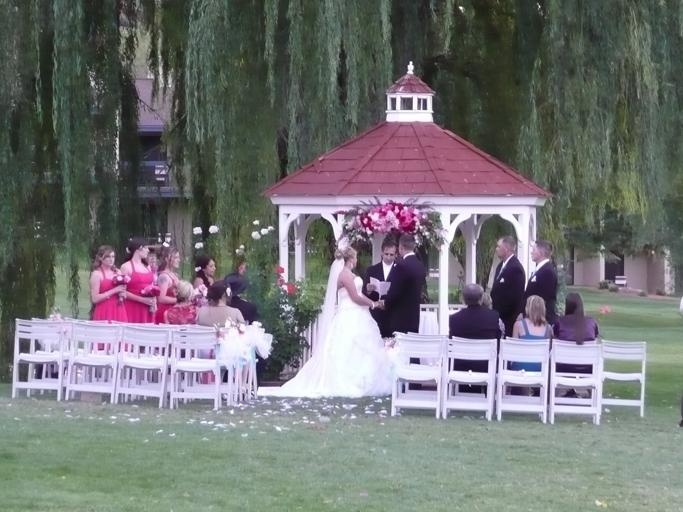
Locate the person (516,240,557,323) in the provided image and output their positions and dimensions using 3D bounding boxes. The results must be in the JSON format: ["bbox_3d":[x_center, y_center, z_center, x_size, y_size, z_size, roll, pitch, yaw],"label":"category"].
[{"bbox_3d":[2.947,0.694,24.754,0.459,1.999,0.567,-1,22,7],"label":"person"}]

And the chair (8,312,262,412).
[{"bbox_3d":[-3.016,1.585,24.395,3.727,1.408,1.593,-3,-4,16],"label":"chair"}]

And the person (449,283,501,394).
[{"bbox_3d":[1.996,1.228,24.208,0.713,2.314,0.752,2,40,11],"label":"person"}]

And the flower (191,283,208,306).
[{"bbox_3d":[-2.144,0.629,25.185,0.242,0.518,0.302,2,6,13],"label":"flower"}]

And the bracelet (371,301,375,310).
[{"bbox_3d":[0.467,0.766,24.840,0.027,0.108,0.068,8,10,7],"label":"bracelet"}]

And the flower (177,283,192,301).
[{"bbox_3d":[-2.320,0.536,24.470,0.172,0.308,0.249,1,-21,-9],"label":"flower"}]
